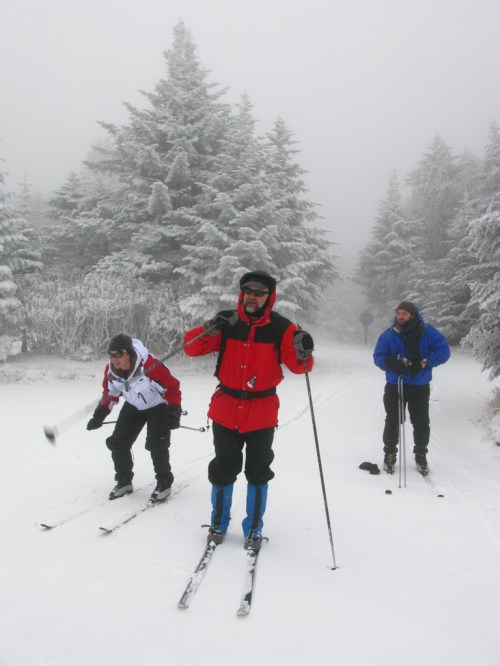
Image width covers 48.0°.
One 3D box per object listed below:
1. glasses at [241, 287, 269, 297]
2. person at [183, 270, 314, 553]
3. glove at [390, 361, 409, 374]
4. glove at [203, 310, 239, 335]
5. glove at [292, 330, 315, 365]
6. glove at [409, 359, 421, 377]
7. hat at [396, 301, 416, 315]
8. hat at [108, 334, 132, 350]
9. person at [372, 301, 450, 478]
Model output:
[{"bbox_3d":[0.043,-0.304,4.153,0.190,0.070,0.070,2,3,-3],"label":"glasses"},{"bbox_3d":[-0.029,0.565,4.235,0.968,2.064,0.606,5,0,24],"label":"person"},{"bbox_3d":[1.672,0.366,6.242,0.118,0.065,0.166,10,-32,13],"label":"glove"},{"bbox_3d":[-0.212,-0.054,4.236,0.222,0.103,0.172,-23,34,7],"label":"glove"},{"bbox_3d":[0.386,0.086,4.004,0.150,0.209,0.090,-2,-5,-10],"label":"glove"},{"bbox_3d":[1.856,0.384,6.295,0.118,0.174,0.044,3,-6,30],"label":"glove"},{"bbox_3d":[1.813,-0.285,6.469,0.224,0.179,0.243,3,3,16],"label":"hat"},{"bbox_3d":[-1.162,0.080,4.997,0.134,0.155,0.170,3,4,-43],"label":"hat"},{"bbox_3d":[1.834,0.617,6.500,0.830,1.982,0.645,3,3,21],"label":"person"}]
